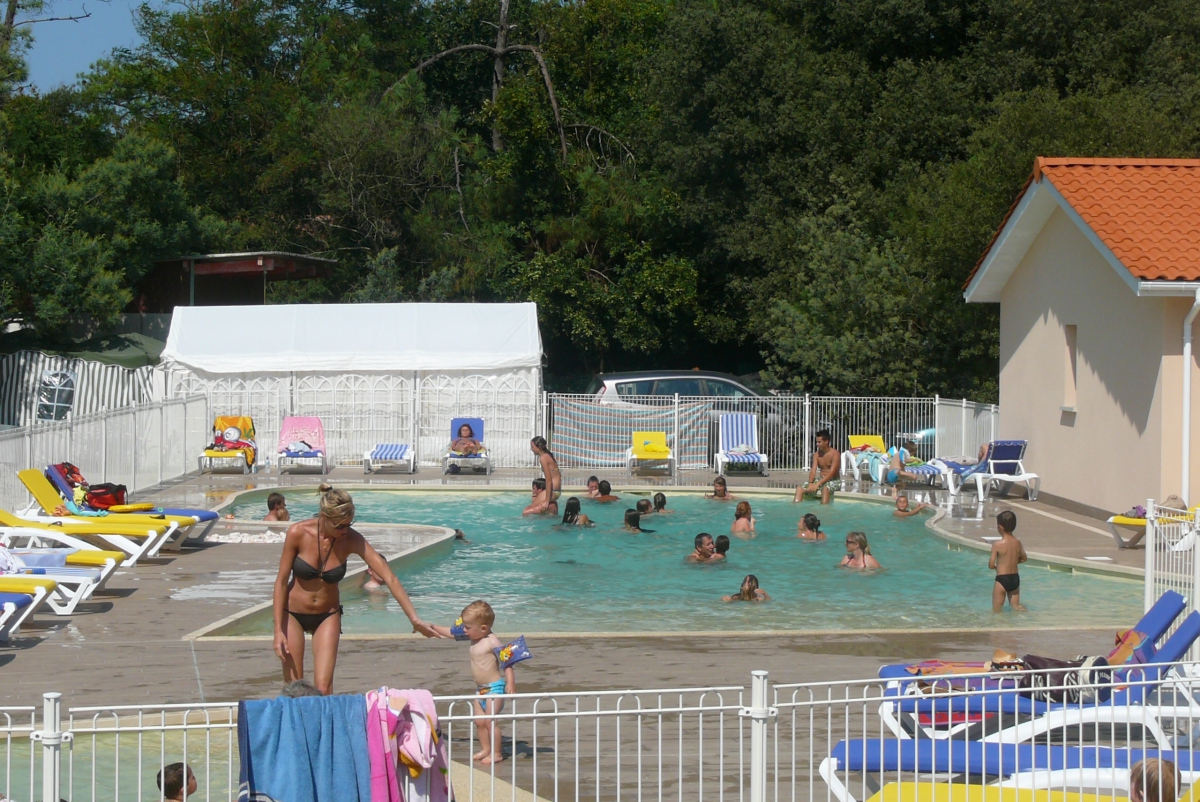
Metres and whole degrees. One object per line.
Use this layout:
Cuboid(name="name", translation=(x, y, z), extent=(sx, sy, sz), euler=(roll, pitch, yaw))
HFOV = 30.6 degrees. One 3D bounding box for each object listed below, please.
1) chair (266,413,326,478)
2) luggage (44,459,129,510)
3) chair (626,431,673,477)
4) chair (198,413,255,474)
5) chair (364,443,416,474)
Cuboid(name="chair", translation=(-7.819, 1.117, 57.952), extent=(1.428, 1.586, 2.367), euler=(0, -2, -8))
Cuboid(name="luggage", translation=(-11.074, 1.940, 47.776), extent=(1.242, 0.690, 0.993), euler=(7, 16, -7))
Cuboid(name="chair", translation=(1.368, 1.372, 58.446), extent=(1.096, 1.177, 1.148), euler=(-1, 4, -5))
Cuboid(name="chair", translation=(-9.662, 1.115, 57.630), extent=(1.466, 1.505, 2.010), euler=(1, -2, -11))
Cuboid(name="chair", translation=(-5.489, 1.526, 58.156), extent=(1.319, 0.787, 1.907), euler=(0, -2, -6))
